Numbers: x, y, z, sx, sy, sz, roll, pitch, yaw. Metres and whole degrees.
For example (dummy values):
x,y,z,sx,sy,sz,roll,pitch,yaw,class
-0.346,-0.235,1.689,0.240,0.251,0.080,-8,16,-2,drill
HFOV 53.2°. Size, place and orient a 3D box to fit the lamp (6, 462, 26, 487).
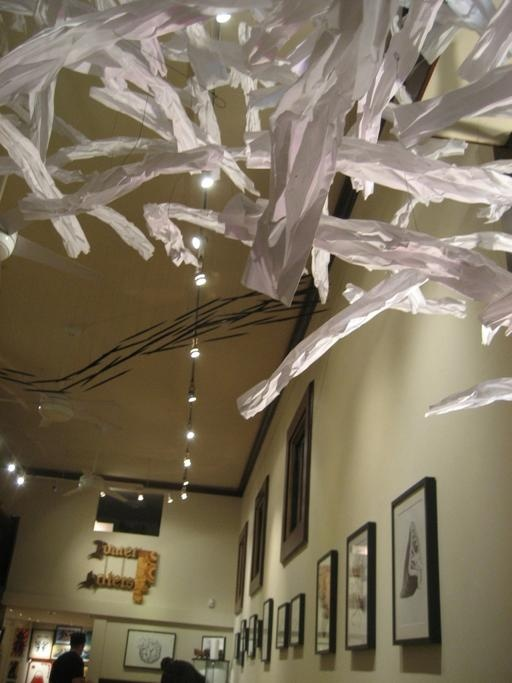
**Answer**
x,y,z,sx,sy,sz,roll,pitch,yaw,class
-4.505,2.478,9.509,0.293,0.315,0.805,10,-30,-7,lamp
